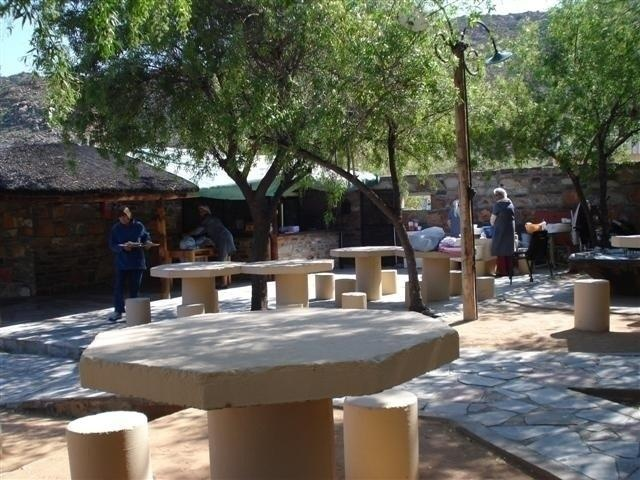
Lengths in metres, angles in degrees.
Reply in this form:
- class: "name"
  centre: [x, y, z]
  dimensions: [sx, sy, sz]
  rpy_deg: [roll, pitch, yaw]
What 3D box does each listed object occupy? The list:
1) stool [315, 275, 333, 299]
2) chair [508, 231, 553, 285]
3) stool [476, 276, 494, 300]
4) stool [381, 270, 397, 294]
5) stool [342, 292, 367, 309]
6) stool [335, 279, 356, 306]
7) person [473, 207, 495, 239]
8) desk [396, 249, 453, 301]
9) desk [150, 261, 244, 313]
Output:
- class: "stool"
  centre: [0.104, 0.968, 12.237]
  dimensions: [0.376, 0.510, 0.417]
  rpy_deg: [-2, -5, 16]
- class: "chair"
  centre: [4.701, 0.425, 13.455]
  dimensions: [0.934, 1.546, 0.958]
  rpy_deg: [-2, 5, -27]
- class: "stool"
  centre: [3.082, 0.913, 11.270]
  dimensions: [0.343, 0.452, 0.375]
  rpy_deg: [0, -1, -2]
- class: "stool"
  centre: [1.420, 0.890, 12.495]
  dimensions: [0.397, 0.507, 0.397]
  rpy_deg: [1, -5, -33]
- class: "stool"
  centre: [0.544, 0.924, 9.154]
  dimensions: [0.263, 0.222, 0.282]
  rpy_deg: [1, 2, 31]
- class: "stool"
  centre: [0.450, 1.001, 11.455]
  dimensions: [0.400, 0.524, 0.411]
  rpy_deg: [0, -1, -25]
- class: "person"
  centre: [4.418, -0.438, 16.181]
  dimensions: [0.650, 1.040, 0.315]
  rpy_deg: [-5, -4, 27]
- class: "desk"
  centre: [2.079, 0.727, 11.055]
  dimensions: [0.816, 0.792, 0.958]
  rpy_deg: [-2, 5, -15]
- class: "desk"
  centre: [-1.956, 0.680, 9.902]
  dimensions: [0.961, 0.594, 1.063]
  rpy_deg: [1, 6, 14]
